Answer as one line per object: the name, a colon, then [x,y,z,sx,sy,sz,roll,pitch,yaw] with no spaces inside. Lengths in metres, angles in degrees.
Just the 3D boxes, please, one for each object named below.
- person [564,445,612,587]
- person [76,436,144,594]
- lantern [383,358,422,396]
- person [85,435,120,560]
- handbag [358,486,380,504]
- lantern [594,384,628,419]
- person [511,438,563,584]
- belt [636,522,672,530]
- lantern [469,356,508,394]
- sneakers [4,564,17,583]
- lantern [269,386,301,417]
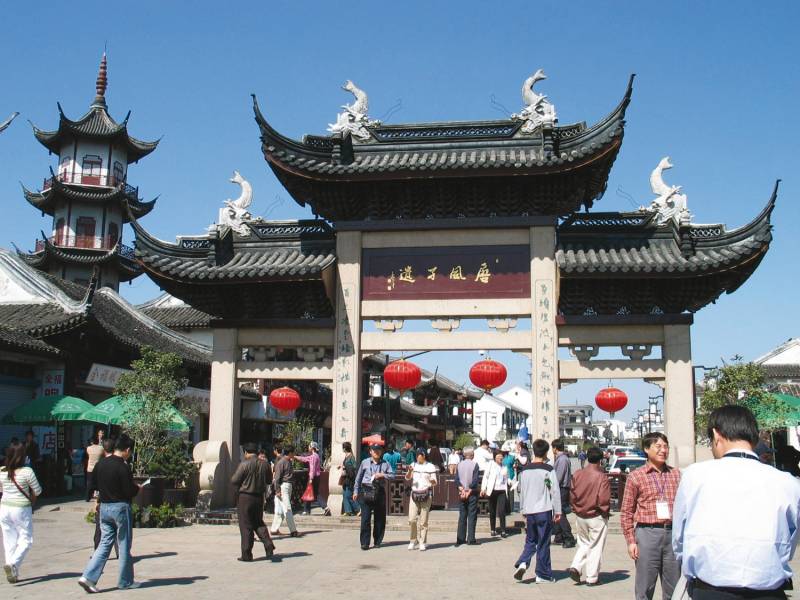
person: [3.077,3.477,14.737,0.655,2.169,1.277,-1,-12,11]
person: [-4.496,3.301,14.203,0.823,2.362,0.824,5,-12,-17]
lantern: [0.059,1.633,21.000,0.793,0.722,1.245,2,-12,-2]
person: [-5.210,3.463,15.999,0.565,2.134,0.499,-3,11,-28]
handbag: [-0.618,3.707,17.342,0.405,0.335,0.245,0,-12,5]
lantern: [4.819,2.287,20.691,0.652,0.633,0.754,-7,-14,33]
person: [2.311,3.466,15.149,0.713,2.291,1.147,-1,-12,11]
belt: [3.372,2.991,12.072,0.395,0.071,0.039,-3,-12,19]
lantern: [1.978,1.695,20.289,0.750,0.867,1.477,1,-12,3]
sneakers: [-6.038,4.228,14.036,0.132,0.363,0.143,0,-5,-13]
lantern: [-2.967,2.470,23.198,0.685,0.717,1.681,3,-13,-10]
